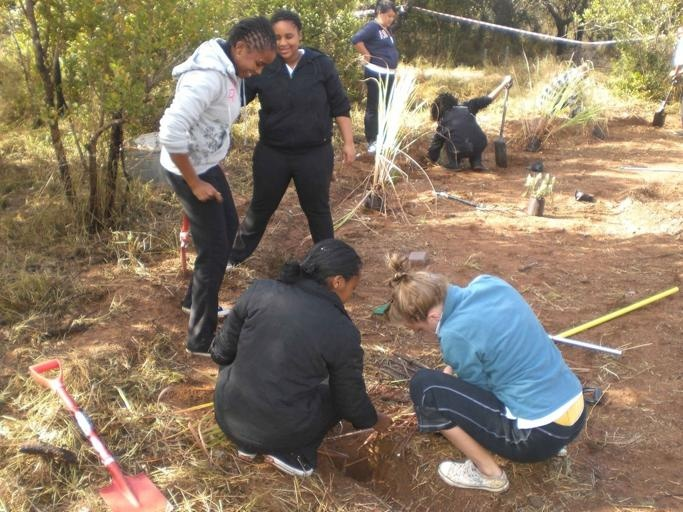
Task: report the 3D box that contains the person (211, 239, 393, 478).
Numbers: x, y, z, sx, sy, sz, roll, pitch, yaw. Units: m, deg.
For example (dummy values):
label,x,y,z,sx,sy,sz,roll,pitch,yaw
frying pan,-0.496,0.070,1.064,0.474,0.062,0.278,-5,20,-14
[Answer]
label,x,y,z,sx,sy,sz,roll,pitch,yaw
person,-0.247,0.693,3.543,0.841,1.209,0.683,33,34,14

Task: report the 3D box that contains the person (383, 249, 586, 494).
label,x,y,z,sx,sy,sz,roll,pitch,yaw
person,0.866,0.682,3.675,1.140,1.500,1.247,-25,26,-38

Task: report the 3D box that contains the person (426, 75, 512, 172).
label,x,y,z,sx,sy,sz,roll,pitch,yaw
person,1.631,-1.815,8.047,0.909,1.152,0.662,18,26,38

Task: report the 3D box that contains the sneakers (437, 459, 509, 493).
label,x,y,z,sx,sy,sz,roll,pitch,yaw
sneakers,0.762,1.325,3.444,0.439,0.192,0.168,9,19,10
